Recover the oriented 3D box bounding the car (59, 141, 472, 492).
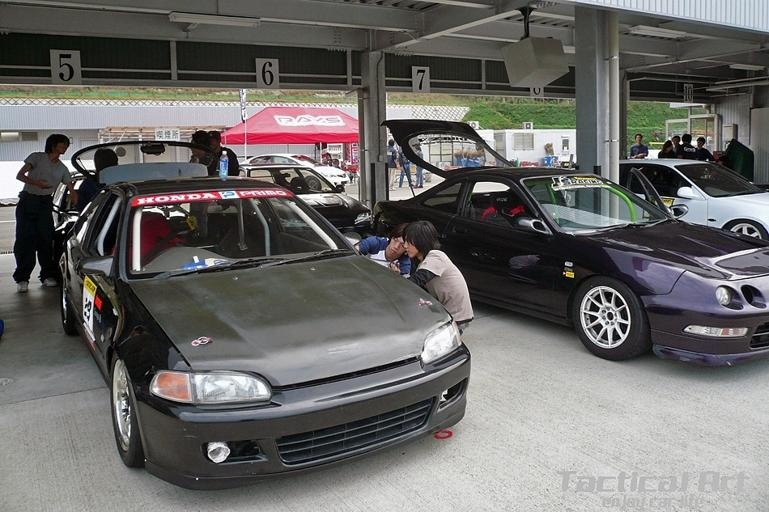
[{"bbox_3d":[-1.333,0.182,3.769,1.945,1.350,3.414,-10,20,-36],"label":"car"}]

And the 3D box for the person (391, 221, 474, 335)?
[{"bbox_3d":[0.333,0.240,4.799,0.857,1.072,0.759,-10,2,-42],"label":"person"}]

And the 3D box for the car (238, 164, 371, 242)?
[{"bbox_3d":[-1.569,-1.197,9.907,1.477,1.049,3.355,-6,14,-34],"label":"car"}]

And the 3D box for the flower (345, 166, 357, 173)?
[{"bbox_3d":[-1.896,-5.098,27.356,0.577,0.243,0.644,-6,20,1],"label":"flower"}]

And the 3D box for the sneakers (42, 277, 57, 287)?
[{"bbox_3d":[-5.617,0.456,7.876,0.300,0.117,0.120,1,6,38],"label":"sneakers"}]
